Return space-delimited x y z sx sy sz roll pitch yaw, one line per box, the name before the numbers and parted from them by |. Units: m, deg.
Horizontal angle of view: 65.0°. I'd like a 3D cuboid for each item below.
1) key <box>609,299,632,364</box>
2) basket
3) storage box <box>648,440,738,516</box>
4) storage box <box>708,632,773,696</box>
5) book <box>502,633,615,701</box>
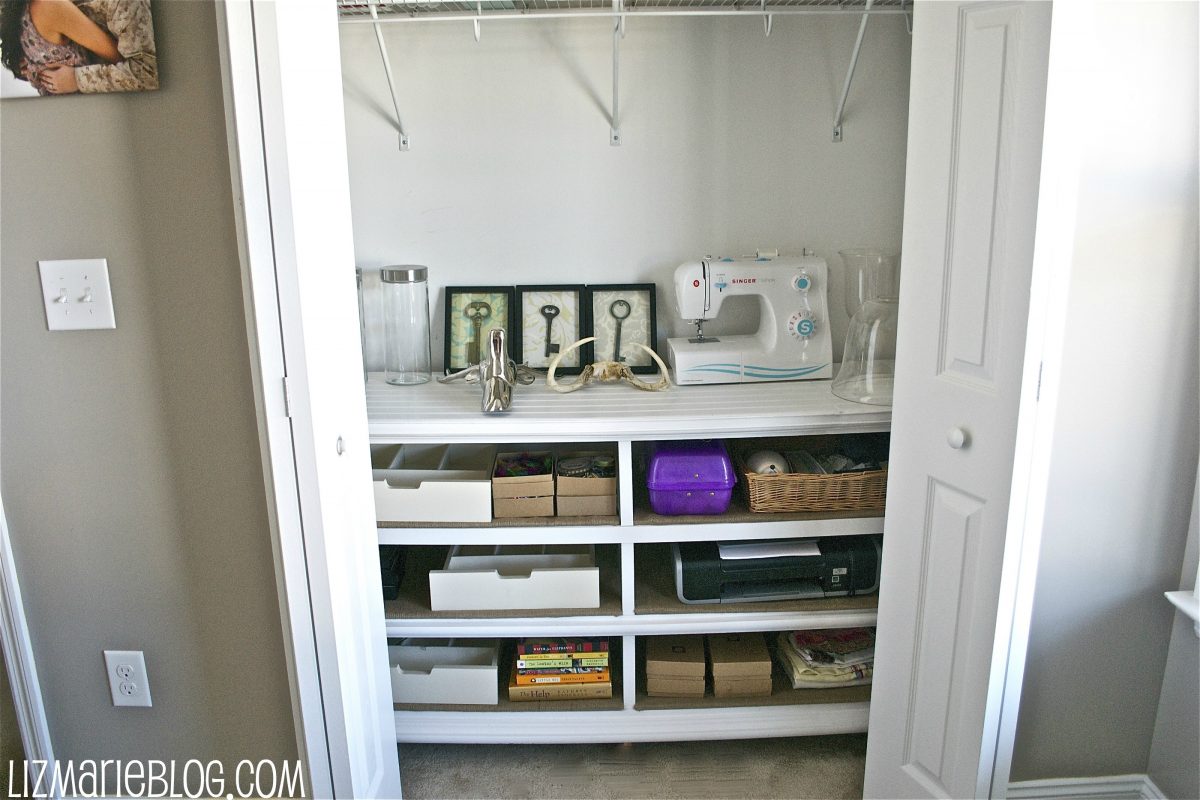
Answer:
key | 0.069 -0.228 3.065 0.070 0.200 0.034 -3 11 1
basket | 0.597 0.233 2.705 0.289 0.094 0.215 0 6 -1
storage box | 0.241 0.189 2.798 0.263 0.216 0.322 0 20 -8
storage box | 0.418 0.789 2.833 0.160 0.093 0.154 0 6 1
book | -0.112 0.791 2.767 0.226 0.071 0.217 -1 0 1
